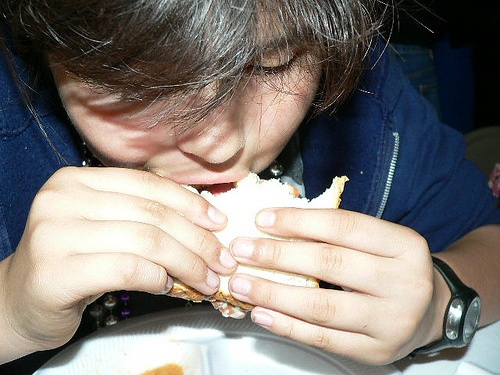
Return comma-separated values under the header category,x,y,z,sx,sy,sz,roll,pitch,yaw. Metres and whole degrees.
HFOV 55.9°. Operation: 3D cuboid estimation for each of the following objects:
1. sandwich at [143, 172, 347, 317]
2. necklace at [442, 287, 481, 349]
category,x,y,z,sx,sy,sz,roll,pitch,yaw
sandwich,-0.015,0.216,1.254,0.356,0.115,0.397,11,65,-7
necklace,0.522,0.318,1.200,0.045,0.138,0.115,7,5,40
